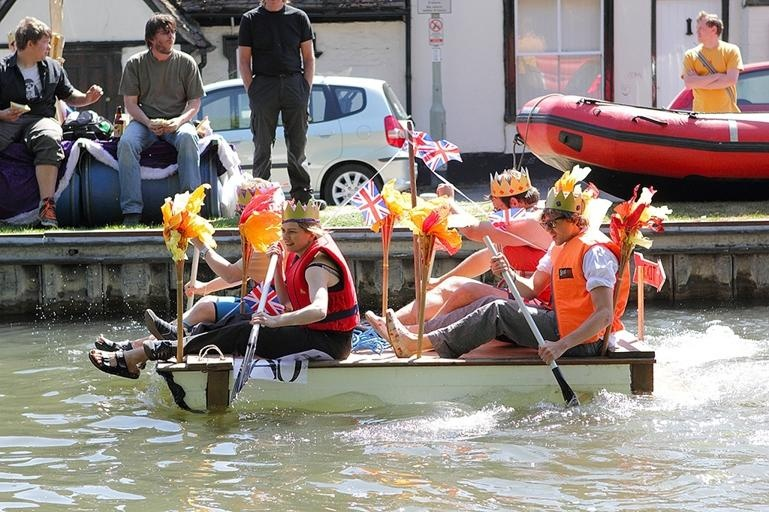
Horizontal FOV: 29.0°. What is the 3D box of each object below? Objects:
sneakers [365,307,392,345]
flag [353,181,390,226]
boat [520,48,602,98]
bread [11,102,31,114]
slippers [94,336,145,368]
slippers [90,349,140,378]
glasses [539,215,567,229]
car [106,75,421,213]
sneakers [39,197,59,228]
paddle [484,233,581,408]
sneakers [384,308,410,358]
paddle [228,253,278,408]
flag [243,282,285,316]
[{"bbox_3d":[-0.057,0.647,13.781,0.170,0.407,0.129,-24,5,-3],"label":"sneakers"},{"bbox_3d":[-0.130,-0.481,14.000,0.350,0.399,0.100,-29,-13,13],"label":"flag"},{"bbox_3d":[2.707,-2.830,22.800,1.261,0.789,0.054,0,9,3],"label":"boat"},{"bbox_3d":[-4.114,-1.665,16.736,0.210,0.122,0.299,-2,0,-13],"label":"bread"},{"bbox_3d":[-2.552,0.904,13.850,0.618,0.173,0.240,5,3,-10],"label":"slippers"},{"bbox_3d":[-2.471,0.952,13.620,0.407,0.163,0.236,16,6,-12],"label":"slippers"},{"bbox_3d":[1.517,-0.303,13.324,0.146,0.050,0.142,-10,-1,-20],"label":"glasses"},{"bbox_3d":[-1.057,-1.437,18.963,2.822,1.410,1.585,2,4,0],"label":"car"},{"bbox_3d":[-3.817,-0.475,16.721,0.194,0.332,0.137,-2,0,-9],"label":"sneakers"},{"bbox_3d":[1.354,0.642,13.467,0.230,1.709,0.082,-27,-13,2],"label":"paddle"},{"bbox_3d":[0.117,0.733,13.481,0.184,0.492,0.164,-12,7,-16],"label":"sneakers"},{"bbox_3d":[-1.148,0.642,13.389,0.325,1.270,0.576,-2,1,36],"label":"paddle"},{"bbox_3d":[-1.103,0.408,13.604,0.404,0.032,0.358,7,36,6],"label":"flag"}]
